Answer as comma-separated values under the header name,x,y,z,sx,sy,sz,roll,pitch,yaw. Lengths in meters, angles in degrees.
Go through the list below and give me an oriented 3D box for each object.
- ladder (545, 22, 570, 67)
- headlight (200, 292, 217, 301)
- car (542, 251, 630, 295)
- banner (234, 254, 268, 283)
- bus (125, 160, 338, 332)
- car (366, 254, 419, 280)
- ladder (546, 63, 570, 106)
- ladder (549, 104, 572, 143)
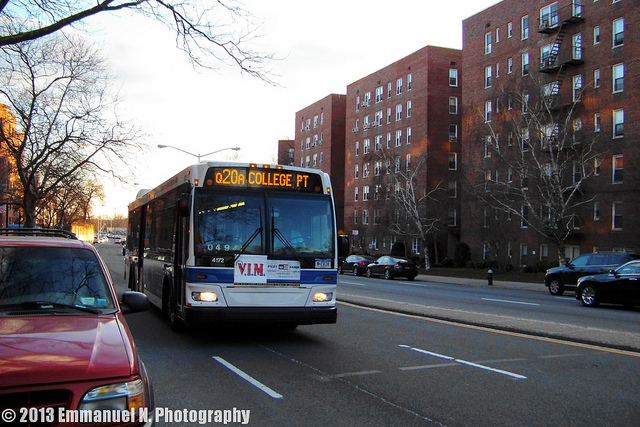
name,x,y,z,sx,sy,sz,roll,pitch,yaw
ladder,20.268,-14.387,40.749,0.936,3.343,1.596,3,-3,-35
headlight,-2.256,1.679,9.661,0.198,0.194,0.049,6,-6,-7
car,13.546,3.093,23.775,1.909,2.165,4.843,8,-7,-24
banner,-1.462,1.140,9.886,0.560,0.512,0.085,2,-7,-16
bus,-3.784,0.913,14.693,3.388,4.117,10.800,4,-4,-29
car,5.401,4.156,36.885,1.442,1.735,3.825,3,-4,-37
ladder,19.679,-10.795,40.013,2.041,3.572,1.248,2,-2,-12
ladder,19.676,-7.778,39.029,0.974,2.589,1.869,-1,-3,39
